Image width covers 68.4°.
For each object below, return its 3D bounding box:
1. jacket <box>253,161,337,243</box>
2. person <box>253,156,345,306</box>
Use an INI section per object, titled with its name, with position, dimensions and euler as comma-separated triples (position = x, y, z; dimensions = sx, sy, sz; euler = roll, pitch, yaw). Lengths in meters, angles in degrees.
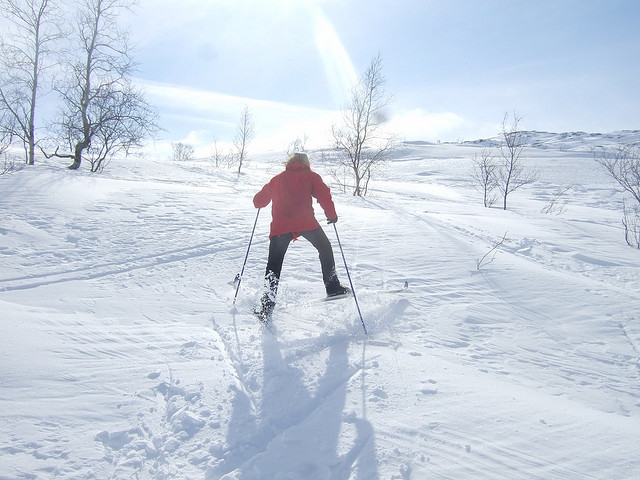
[jacket]
position = -0.356, -0.561, 6.605
dimensions = 1.126, 1.099, 0.505
euler = 3, 6, -8
[person]
position = -0.328, -0.173, 6.646
dimensions = 1.155, 2.026, 0.689
euler = 2, 6, -20
